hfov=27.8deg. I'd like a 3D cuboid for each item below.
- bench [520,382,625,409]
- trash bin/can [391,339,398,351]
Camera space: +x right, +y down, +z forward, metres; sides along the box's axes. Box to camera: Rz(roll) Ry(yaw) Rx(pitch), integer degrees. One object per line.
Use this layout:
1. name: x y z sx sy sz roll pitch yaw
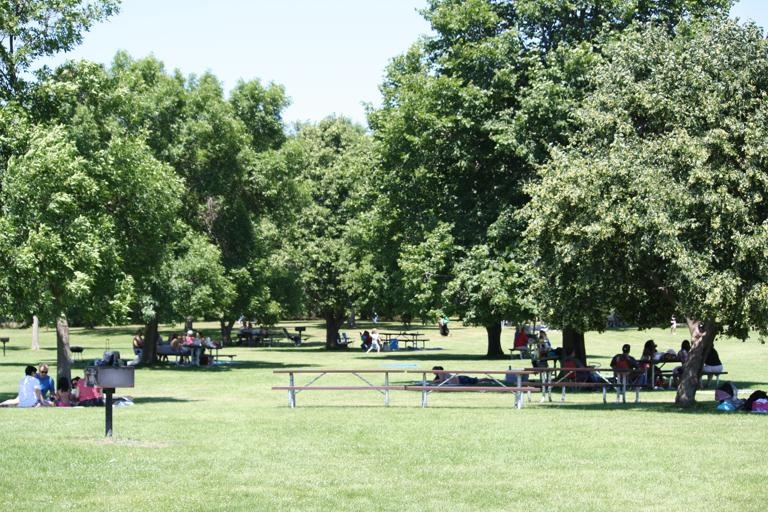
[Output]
1. bench: 6.646 4.730 55.344 3.752 0.754 1.770 2 0 -2
2. trash bin/can: 0.543 4.816 84.989 0.550 0.541 0.317 3 3 25
